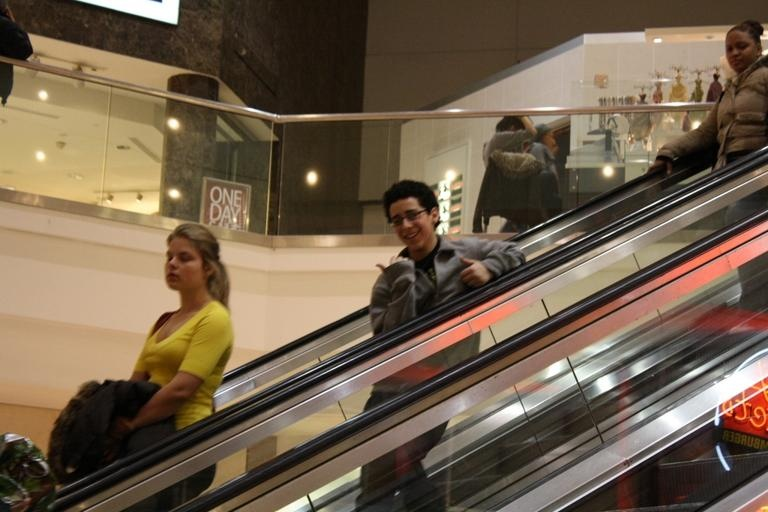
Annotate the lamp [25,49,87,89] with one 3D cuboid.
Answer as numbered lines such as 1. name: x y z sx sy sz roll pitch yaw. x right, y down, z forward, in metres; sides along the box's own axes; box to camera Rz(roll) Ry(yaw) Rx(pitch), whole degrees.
1. lamp: -5.310 -2.992 11.005 0.781 0.389 1.163 17 -11 -28

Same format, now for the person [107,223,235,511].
1. person: -1.126 0.371 3.709 0.549 1.064 0.753 -2 4 -15
